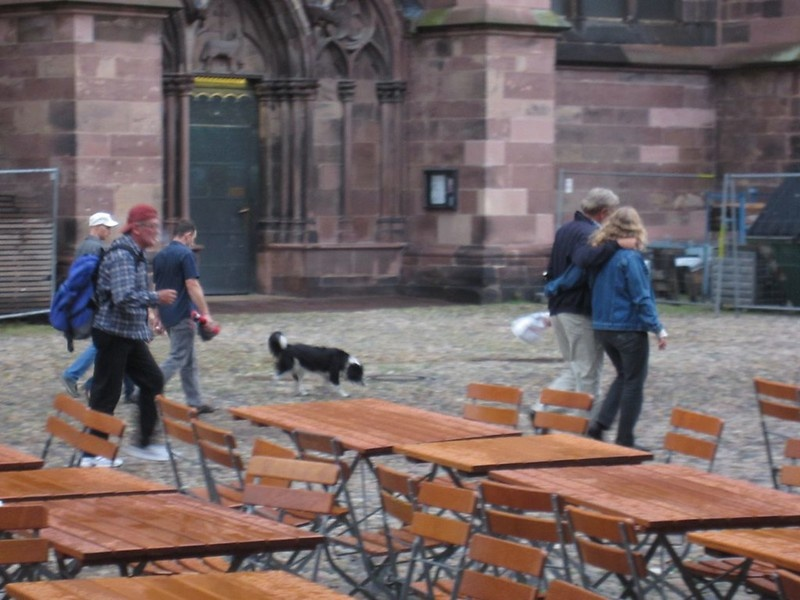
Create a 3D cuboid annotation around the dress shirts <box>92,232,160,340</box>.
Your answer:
[{"bbox_3d":[-1.977,-0.086,8.173,0.549,0.753,0.739,6,7,-21],"label":"dress shirts"}]

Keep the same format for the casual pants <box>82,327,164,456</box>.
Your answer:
[{"bbox_3d":[-1.963,0.508,8.106,0.551,0.919,0.312,1,-3,1],"label":"casual pants"}]

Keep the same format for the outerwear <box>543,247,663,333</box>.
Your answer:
[{"bbox_3d":[1.642,-0.067,8.245,0.662,0.620,0.244,4,5,35],"label":"outerwear"}]
